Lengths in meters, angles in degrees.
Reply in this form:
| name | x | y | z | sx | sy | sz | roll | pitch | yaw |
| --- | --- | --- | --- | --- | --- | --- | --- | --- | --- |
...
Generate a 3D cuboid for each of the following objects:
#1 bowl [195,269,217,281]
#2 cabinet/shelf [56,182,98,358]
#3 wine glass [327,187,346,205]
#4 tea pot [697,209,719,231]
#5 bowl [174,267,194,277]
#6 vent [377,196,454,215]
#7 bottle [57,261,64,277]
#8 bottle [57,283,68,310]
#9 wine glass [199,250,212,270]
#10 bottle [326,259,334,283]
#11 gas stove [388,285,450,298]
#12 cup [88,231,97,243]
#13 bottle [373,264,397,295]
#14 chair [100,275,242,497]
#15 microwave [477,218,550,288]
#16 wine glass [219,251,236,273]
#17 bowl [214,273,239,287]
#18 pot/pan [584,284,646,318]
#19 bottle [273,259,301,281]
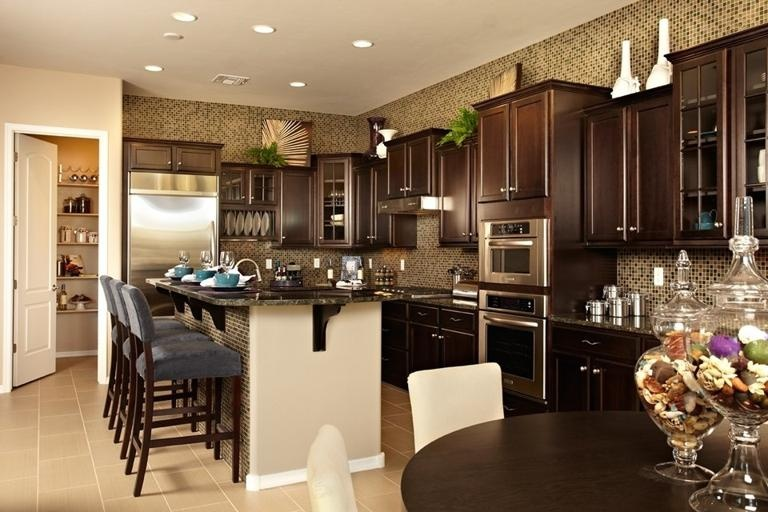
| name | x | y | z | sx | sy | sz | roll | pitch | yaw |
| --- | --- | --- | --- | --- | --- | --- | --- | --- | --- |
| bowl | -1.565 | 0.159 | 4.872 | 0.134 | 0.071 | 0.122 | 0 | 0 | 0 |
| cabinet/shelf | -4.313 | 0.195 | 7.787 | 0.562 | 2.458 | 0.356 | -2 | 5 | -26 |
| wine glass | -0.662 | -0.834 | 7.674 | 0.265 | 0.218 | 0.088 | -1 | -4 | 37 |
| tea pot | 2.242 | -0.247 | 3.861 | 0.143 | 0.110 | 0.097 | -1 | -2 | 39 |
| bowl | -1.920 | 0.150 | 5.268 | 0.123 | 0.065 | 0.109 | -2 | -2 | 15 |
| vent | 0.355 | -0.585 | 6.285 | 0.287 | 0.168 | 1.051 | -2 | 4 | -29 |
| bottle | -4.437 | 0.175 | 7.595 | 0.095 | 0.206 | 0.080 | -3 | 6 | -38 |
| bottle | -4.476 | 0.567 | 7.713 | 0.126 | 0.346 | 0.140 | -2 | 5 | -28 |
| wine glass | -1.599 | 0.039 | 4.985 | 0.089 | 0.165 | 0.353 | -1 | 4 | -20 |
| bottle | -0.793 | 0.210 | 8.156 | 0.126 | 0.355 | 0.098 | 0 | 5 | -10 |
| gas stove | 0.420 | 0.417 | 6.521 | 0.706 | 0.072 | 1.251 | 0 | 3 | -2 |
| cup | -4.094 | -0.267 | 7.814 | 0.156 | 0.155 | 0.146 | 1 | 1 | 0 |
| bottle | -0.027 | 0.313 | 7.442 | 0.306 | 0.378 | 0.300 | 1 | 2 | 0 |
| chair | -1.637 | 1.057 | 4.312 | 0.572 | 0.924 | 1.635 | -1 | 1 | -25 |
| microwave | 1.141 | -0.025 | 4.810 | 0.334 | 0.521 | 0.668 | 4 | -4 | -29 |
| wine glass | -1.272 | 0.050 | 4.500 | 0.088 | 0.160 | 0.192 | -1 | 4 | -25 |
| bowl | -1.205 | 0.179 | 4.244 | 0.135 | 0.072 | 0.119 | 0 | 1 | -28 |
| pot/pan | 1.855 | 0.386 | 4.450 | 0.355 | 0.148 | 0.304 | 0 | 1 | -10 |
| bottle | -1.318 | 0.197 | 7.412 | 0.296 | 0.252 | 0.153 | 2 | -3 | -37 |
